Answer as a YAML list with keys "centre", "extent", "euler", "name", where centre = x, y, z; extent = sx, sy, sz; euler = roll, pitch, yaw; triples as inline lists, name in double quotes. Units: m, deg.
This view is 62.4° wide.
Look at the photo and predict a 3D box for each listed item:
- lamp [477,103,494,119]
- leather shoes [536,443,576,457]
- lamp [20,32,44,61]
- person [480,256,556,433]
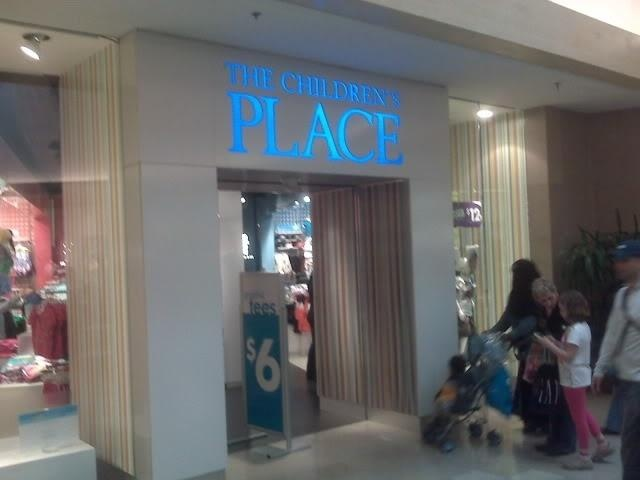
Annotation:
- centre: [2.142, -1.644, 6.861]
  extent: [0.121, 0.141, 0.415]
  euler: [0, 3, 36]
  name: "lamp"
- centre: [2.188, 1.937, 4.921]
  extent: [0.328, 0.135, 0.115]
  euler: [-6, 7, 19]
  name: "leather shoes"
- centre: [-2.274, -1.552, 4.237]
  extent: [0.166, 0.173, 0.166]
  euler: [2, -25, -11]
  name: "lamp"
- centre: [2.006, 1.113, 5.365]
  extent: [0.712, 2.215, 0.644]
  euler: [9, -27, 3]
  name: "person"
